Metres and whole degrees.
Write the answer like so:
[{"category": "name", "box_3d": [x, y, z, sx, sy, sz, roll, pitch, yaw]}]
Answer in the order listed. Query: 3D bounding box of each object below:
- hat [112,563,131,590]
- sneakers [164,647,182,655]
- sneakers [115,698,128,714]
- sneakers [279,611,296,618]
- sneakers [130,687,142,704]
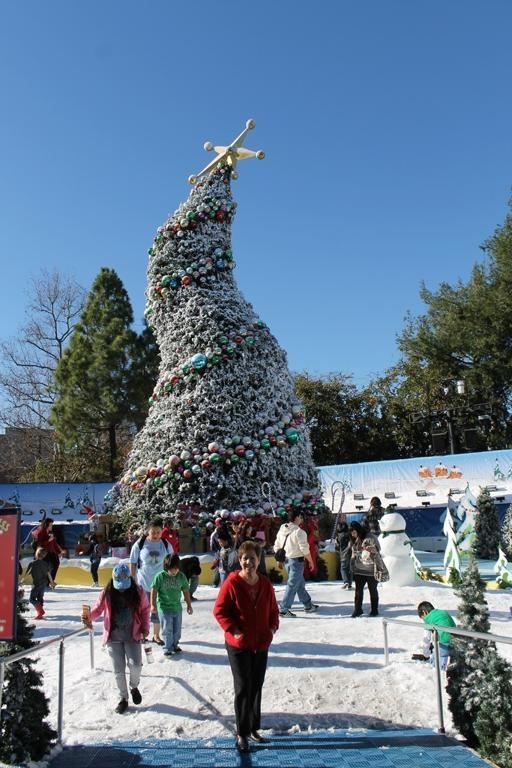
[{"category": "hat", "box_3d": [-1.086, 1.560, 4.677, 0.152, 0.217, 0.122, -2, -13, -7]}, {"category": "sneakers", "box_3d": [-0.836, 2.724, 5.884, 0.066, 0.081, 0.194, -23, -35, 34]}, {"category": "sneakers", "box_3d": [-1.025, 2.464, 4.429, 0.097, 0.086, 0.152, -2, -7, -14]}, {"category": "sneakers", "box_3d": [0.426, 3.108, 7.795, 0.228, 0.094, 0.074, 2, -13, 0]}, {"category": "sneakers", "box_3d": [-0.937, 2.443, 4.538, 0.066, 0.128, 0.125, -6, 15, -9]}]
